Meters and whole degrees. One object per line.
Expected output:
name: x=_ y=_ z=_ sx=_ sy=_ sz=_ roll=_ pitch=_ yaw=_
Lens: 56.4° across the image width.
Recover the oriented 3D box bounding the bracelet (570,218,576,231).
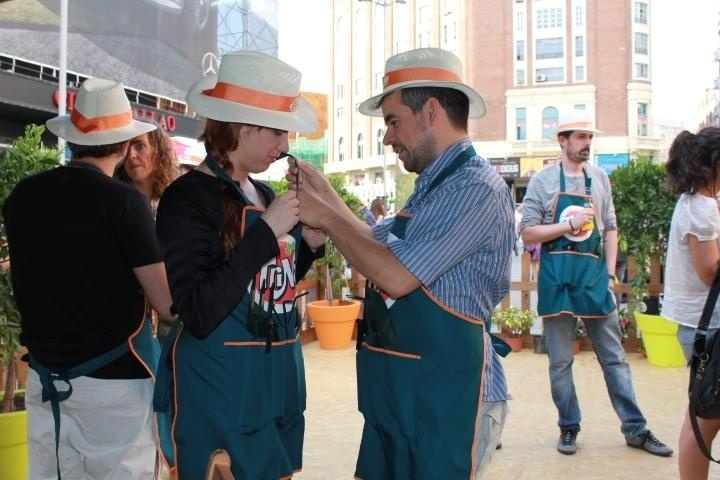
bracelet: x=2.061 y=-0.159 z=6.501 sx=0.066 sy=0.139 sz=0.125 roll=1 pitch=7 yaw=19

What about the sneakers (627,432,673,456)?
sneakers: x=2.640 y=1.854 z=6.138 sx=0.380 sy=0.162 sz=0.153 roll=2 pitch=6 yaw=40

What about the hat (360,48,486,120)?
hat: x=0.456 y=-1.020 z=4.184 sx=0.593 sy=0.253 sz=0.507 roll=0 pitch=-3 yaw=-8

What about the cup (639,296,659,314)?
cup: x=3.961 y=0.852 z=9.134 sx=0.225 sy=0.240 sz=0.229 roll=-2 pitch=4 yaw=0

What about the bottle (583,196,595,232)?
bottle: x=2.212 y=-0.261 z=6.495 sx=0.071 sy=0.315 sz=0.183 roll=2 pitch=-2 yaw=-10

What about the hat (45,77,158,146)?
hat: x=-1.715 y=-0.823 z=4.527 sx=0.518 sy=0.234 sz=0.549 roll=6 pitch=22 yaw=2
